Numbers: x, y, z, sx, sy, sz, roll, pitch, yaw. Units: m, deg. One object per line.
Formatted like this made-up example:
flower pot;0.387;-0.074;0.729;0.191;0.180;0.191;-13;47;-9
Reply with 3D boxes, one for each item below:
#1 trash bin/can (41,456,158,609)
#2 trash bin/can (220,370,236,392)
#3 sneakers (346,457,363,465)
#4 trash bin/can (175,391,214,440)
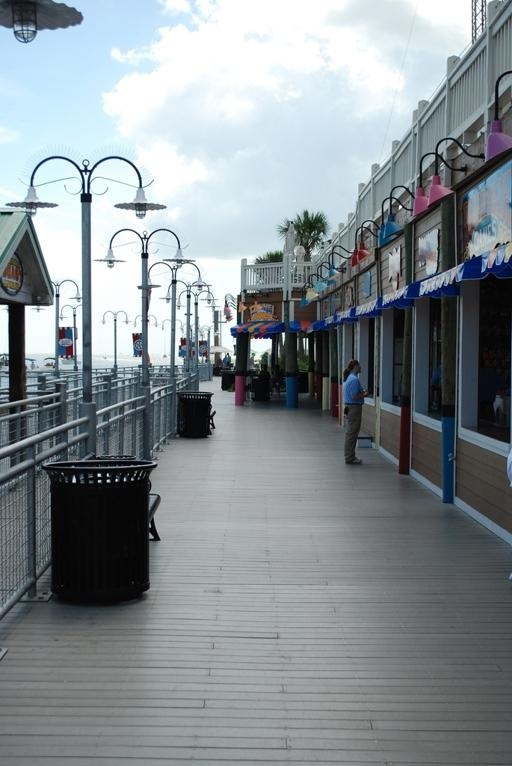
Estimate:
trash bin/can;-1.066;1.049;4.699;0.661;1.143;0.801;0;-5;2
trash bin/can;-1.656;-0.063;41.045;0.850;1.746;1.042;1;-2;-6
sneakers;1.749;1.423;12.375;0.292;0.189;0.122;-2;-2;8
trash bin/can;-1.543;0.753;16.995;0.669;1.236;0.822;6;10;16
